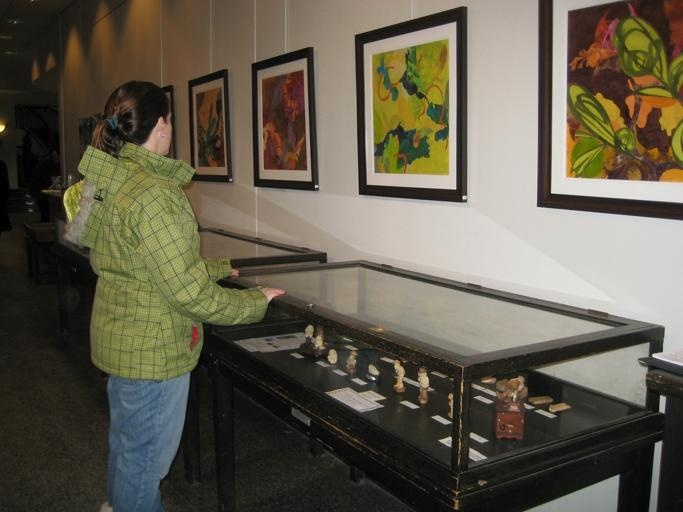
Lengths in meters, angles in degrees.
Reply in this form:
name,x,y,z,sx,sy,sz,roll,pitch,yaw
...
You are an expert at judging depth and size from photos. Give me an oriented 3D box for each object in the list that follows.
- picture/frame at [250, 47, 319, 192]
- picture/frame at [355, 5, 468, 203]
name,x,y,z,sx,sy,sz,roll,pitch,yaw
picture/frame,-0.379,-1.011,3.913,0.077,1.084,1.008,-5,8,-33
picture/frame,0.401,-0.832,2.883,0.080,1.236,0.984,-7,11,-39
